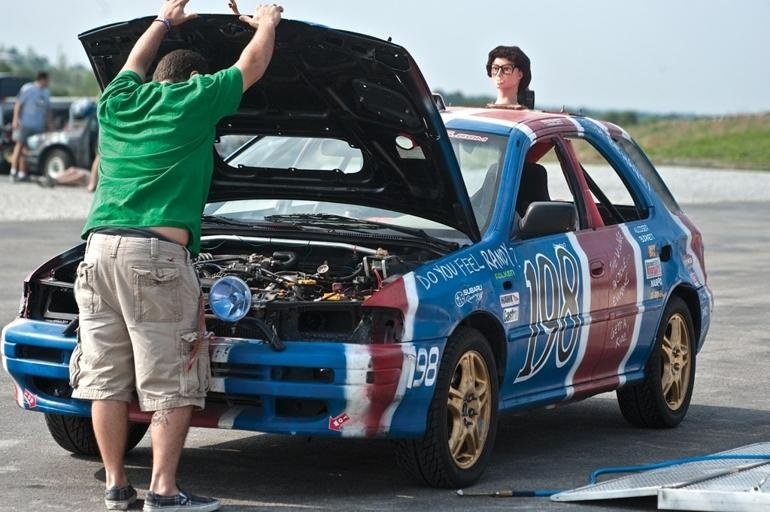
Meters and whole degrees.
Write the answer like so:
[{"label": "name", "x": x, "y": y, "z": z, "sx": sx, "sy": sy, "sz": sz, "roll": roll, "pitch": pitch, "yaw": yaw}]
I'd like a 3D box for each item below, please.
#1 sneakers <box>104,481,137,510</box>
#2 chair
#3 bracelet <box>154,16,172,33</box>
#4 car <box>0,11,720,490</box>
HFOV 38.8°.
[{"label": "sneakers", "x": -1.589, "y": 1.448, "z": 6.537, "sx": 0.099, "sy": 0.094, "sz": 0.235, "roll": 0, "pitch": 3, "yaw": 3}, {"label": "chair", "x": 0.927, "y": -0.414, "z": 8.010, "sx": 0.653, "sy": 0.422, "sz": 0.644, "roll": -11, "pitch": 4, "yaw": -22}, {"label": "bracelet", "x": -1.383, "y": -1.461, "z": 6.851, "sx": 0.108, "sy": 0.092, "sz": 0.100, "roll": 4, "pitch": 6, "yaw": -24}, {"label": "car", "x": 0.454, "y": -0.003, "z": 8.238, "sx": 2.860, "sy": 2.127, "sz": 4.689, "roll": -1, "pitch": 0, "yaw": 35}]
